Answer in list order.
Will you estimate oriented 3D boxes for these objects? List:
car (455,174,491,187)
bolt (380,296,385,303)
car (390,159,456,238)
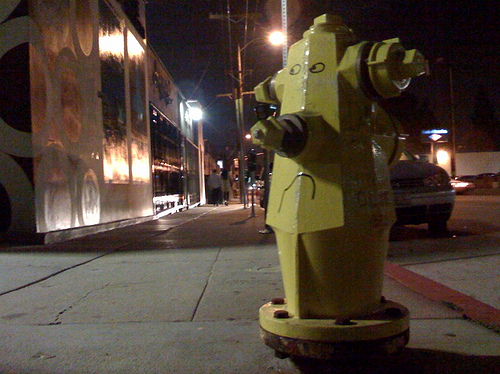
[{"bbox_3d":[18.905,-0.541,36.789,3.434,1.096,1.551,-3,4,-18],"label":"car"},{"bbox_3d":[0.972,0.824,3.205,0.045,0.049,0.044,1,0,13],"label":"bolt"},{"bbox_3d":[3.311,0.142,8.323,1.216,1.109,2.331,-1,1,15],"label":"car"}]
